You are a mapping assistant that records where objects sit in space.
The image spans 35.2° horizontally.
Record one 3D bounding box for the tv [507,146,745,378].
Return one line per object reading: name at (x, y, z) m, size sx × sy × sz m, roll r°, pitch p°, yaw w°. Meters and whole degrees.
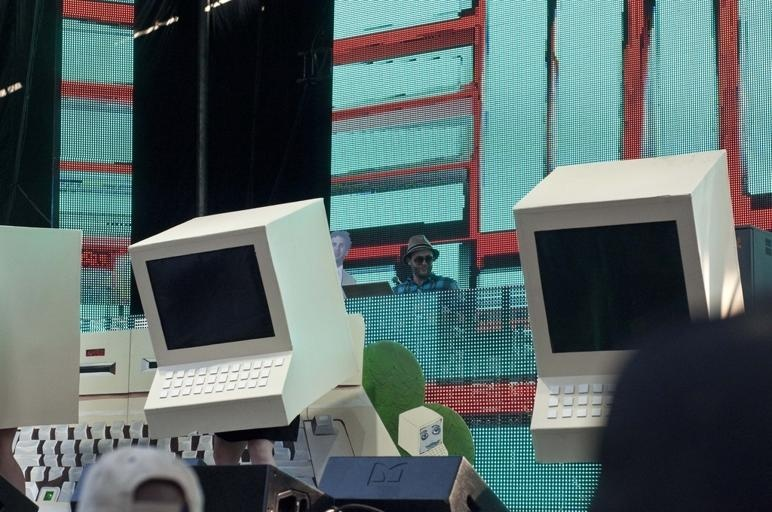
tv at (1.146, 0.067, 6.297) m, size 1.095 × 1.289 × 1.048 m, roll -8°, pitch -33°, yaw 17°
